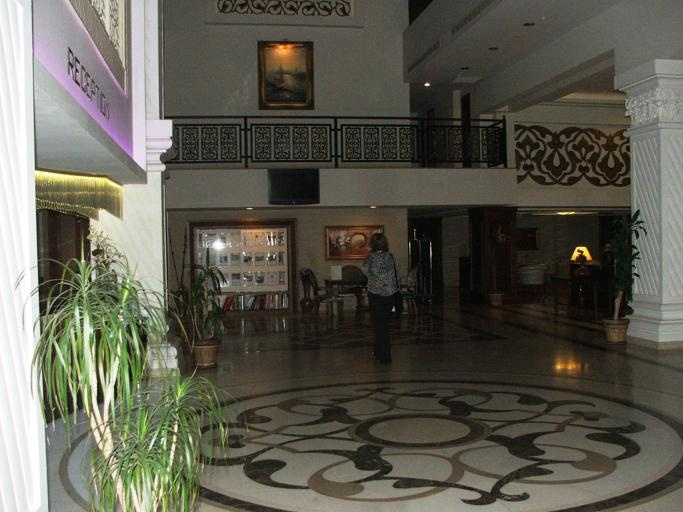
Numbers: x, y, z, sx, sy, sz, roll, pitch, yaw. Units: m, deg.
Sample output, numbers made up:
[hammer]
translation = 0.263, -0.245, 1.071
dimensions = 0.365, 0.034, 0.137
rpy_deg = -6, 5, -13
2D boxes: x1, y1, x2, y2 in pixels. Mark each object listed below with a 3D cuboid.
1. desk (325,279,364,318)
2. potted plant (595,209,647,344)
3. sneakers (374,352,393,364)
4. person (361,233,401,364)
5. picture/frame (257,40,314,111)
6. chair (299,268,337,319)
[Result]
[desk]
translation = 0.082, 0.982, 13.871
dimensions = 0.937, 0.956, 0.810
rpy_deg = -1, -1, -5
[potted plant]
translation = 4.487, 0.306, 9.186
dimensions = 0.779, 2.107, 0.612
rpy_deg = -2, 3, -27
[sneakers]
translation = 0.588, 1.422, 8.053
dimensions = 0.173, 0.144, 0.182
rpy_deg = -1, -3, 1
[person]
translation = 0.556, 0.592, 7.909
dimensions = 0.481, 1.818, 0.345
rpy_deg = -1, 3, 2
[picture/frame]
translation = -1.472, -4.592, 14.390
dimensions = 1.628, 2.002, 0.133
rpy_deg = -1, 6, -10
[chair]
translation = -0.505, 0.850, 13.870
dimensions = 1.001, 1.424, 0.934
rpy_deg = -1, 4, -6
